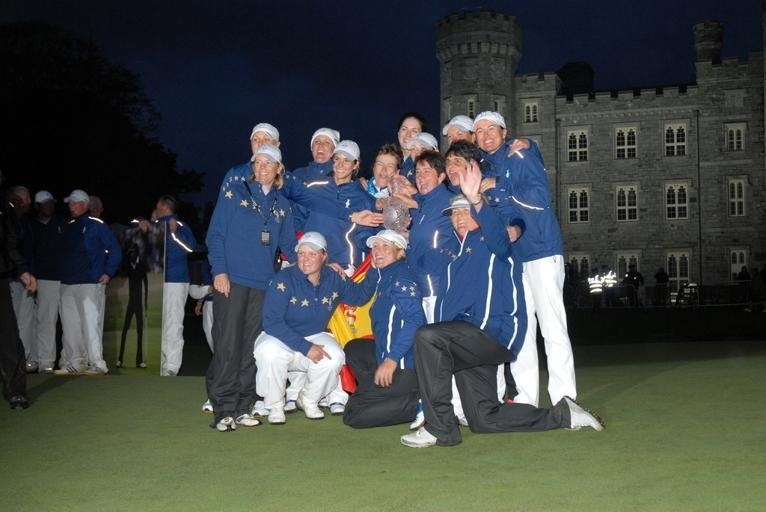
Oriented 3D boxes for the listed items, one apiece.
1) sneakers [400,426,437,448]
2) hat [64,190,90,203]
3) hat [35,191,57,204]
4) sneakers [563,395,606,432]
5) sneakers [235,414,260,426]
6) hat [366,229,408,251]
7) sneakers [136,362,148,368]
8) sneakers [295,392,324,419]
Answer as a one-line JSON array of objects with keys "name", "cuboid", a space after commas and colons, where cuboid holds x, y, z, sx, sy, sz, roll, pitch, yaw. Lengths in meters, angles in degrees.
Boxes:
[{"name": "sneakers", "cuboid": [0.372, 1.923, 7.426, 0.332, 0.145, 0.184, 2, -9, -15]}, {"name": "hat", "cuboid": [-4.960, -0.978, 11.649, 0.238, 0.164, 0.310, -1, -9, 22]}, {"name": "hat", "cuboid": [-5.608, -0.978, 11.745, 0.286, 0.152, 0.194, -5, -2, 31]}, {"name": "sneakers", "cuboid": [2.162, 1.720, 7.866, 0.206, 0.229, 0.562, 21, -25, 11]}, {"name": "sneakers", "cuboid": [-1.556, 1.908, 8.167, 0.259, 0.107, 0.120, 0, -3, 12]}, {"name": "hat", "cuboid": [0.091, -0.200, 8.406, 0.391, 0.121, 0.266, 17, -19, -33]}, {"name": "sneakers", "cuboid": [-3.844, 1.755, 11.297, 0.070, 0.086, 0.202, 6, -14, -45]}, {"name": "sneakers", "cuboid": [-0.878, 1.851, 8.557, 0.176, 0.173, 0.443, 5, -5, -29]}]
